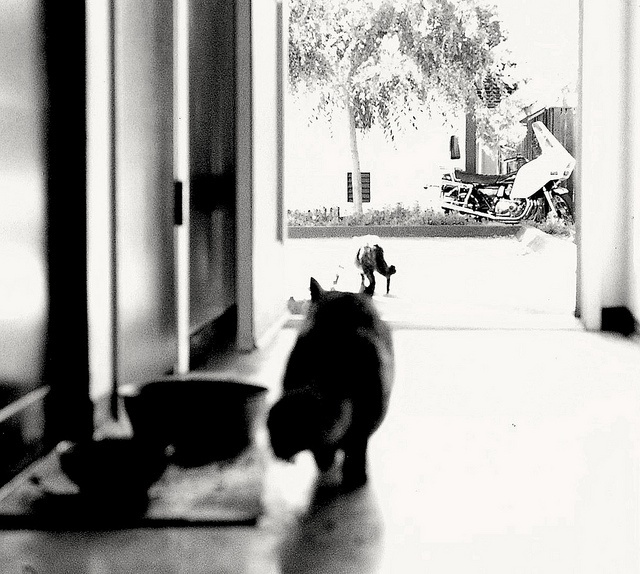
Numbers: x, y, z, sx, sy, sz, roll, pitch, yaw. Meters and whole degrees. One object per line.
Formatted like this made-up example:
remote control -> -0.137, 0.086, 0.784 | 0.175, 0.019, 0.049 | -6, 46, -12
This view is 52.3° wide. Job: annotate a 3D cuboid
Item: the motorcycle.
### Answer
motorcycle -> 3.370, -2.036, 11.701 | 2.490, 2.413, 1.215 | 5, 4, 30
